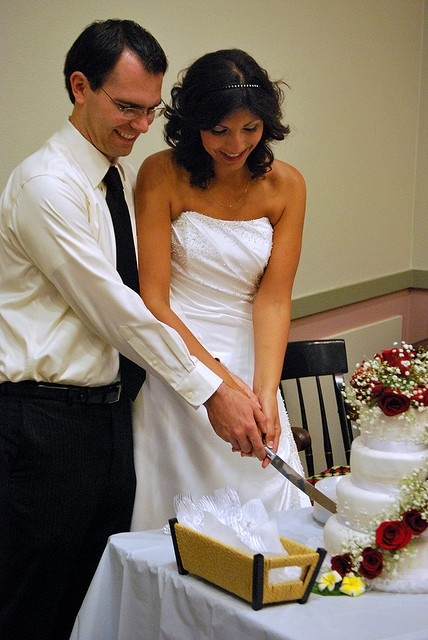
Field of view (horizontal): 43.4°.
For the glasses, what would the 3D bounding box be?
[{"bbox_3d":[-0.213,-0.528,1.288,0.147,0.048,0.149,-16,59,-46],"label":"glasses"}]
